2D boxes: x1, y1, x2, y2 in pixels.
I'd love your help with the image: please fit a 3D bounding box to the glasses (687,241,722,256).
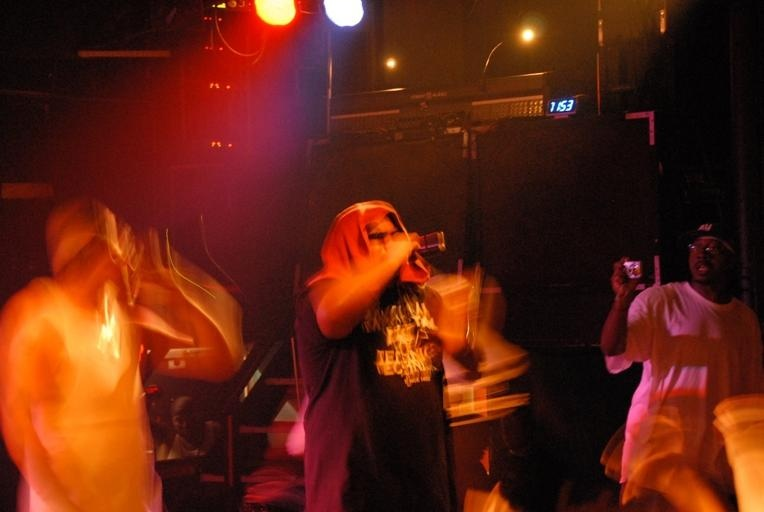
[{"bbox_3d":[2.433,-0.061,5.584,0.114,0.037,0.119,-7,-33,41],"label":"glasses"}]
